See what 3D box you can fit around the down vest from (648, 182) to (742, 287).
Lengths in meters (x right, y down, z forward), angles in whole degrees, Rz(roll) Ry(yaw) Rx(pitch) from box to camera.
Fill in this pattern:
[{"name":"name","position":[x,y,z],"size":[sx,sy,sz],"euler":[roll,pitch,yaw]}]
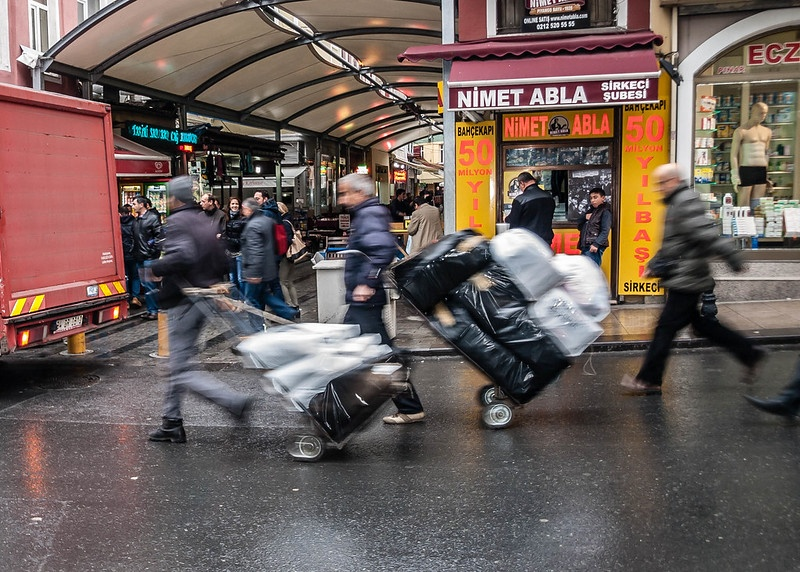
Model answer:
[{"name":"down vest","position":[3.030,-0.481,6.758],"size":[0.867,1.112,0.387],"euler":[3,11,26]}]

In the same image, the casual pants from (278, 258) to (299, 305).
[{"name":"casual pants","position":[-2.132,-0.080,12.231],"size":[0.297,1.035,0.306],"euler":[-3,4,13]}]

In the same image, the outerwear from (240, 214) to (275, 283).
[{"name":"outerwear","position":[-1.995,-0.509,9.122],"size":[0.410,0.800,0.954],"euler":[1,9,4]}]

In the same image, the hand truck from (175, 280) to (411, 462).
[{"name":"hand truck","position":[-0.944,0.832,5.866],"size":[1.661,1.054,0.975],"euler":[9,10,5]}]

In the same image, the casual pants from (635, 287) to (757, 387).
[{"name":"casual pants","position":[3.729,0.681,8.196],"size":[1.329,1.428,0.479],"euler":[-4,27,26]}]

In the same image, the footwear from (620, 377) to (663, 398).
[{"name":"footwear","position":[2.629,1.116,7.152],"size":[0.401,0.181,0.192],"euler":[8,8,11]}]

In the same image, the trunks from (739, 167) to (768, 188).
[{"name":"trunks","position":[6.510,-2.033,12.105],"size":[0.535,0.371,0.346],"euler":[-2,1,0]}]
